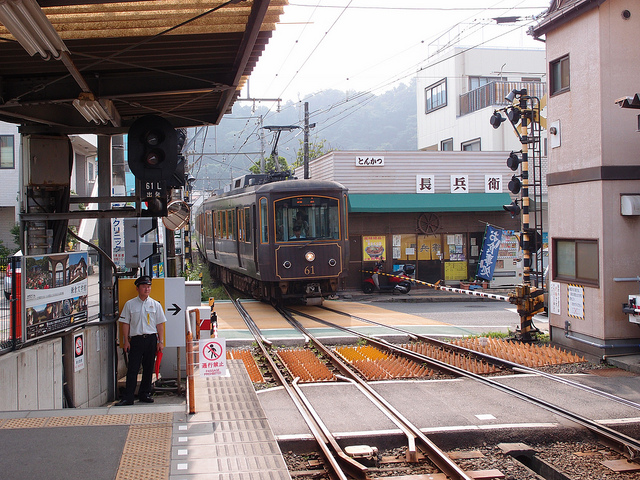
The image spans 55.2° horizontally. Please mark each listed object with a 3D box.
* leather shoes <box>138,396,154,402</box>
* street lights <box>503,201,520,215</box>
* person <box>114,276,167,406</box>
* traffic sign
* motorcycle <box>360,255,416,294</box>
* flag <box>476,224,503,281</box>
[{"bbox_3d":[-2.650,2.438,9.407,0.253,0.116,0.086,0,0,-9],"label":"leather shoes"},{"bbox_3d":[4.729,-0.780,15.045,0.477,0.274,0.346,2,7,-25],"label":"street lights"},{"bbox_3d":[-2.679,1.536,9.215,0.654,1.944,0.492,2,1,-22],"label":"person"},{"bbox_3d":[-2.786,1.234,10.208,1.117,1.169,0.108,1,-10,-32],"label":"traffic sign"},{"bbox_3d":[2.578,1.420,23.130,1.908,1.017,1.023,3,1,8],"label":"motorcycle"},{"bbox_3d":[5.835,0.424,21.086,0.745,1.728,0.658,3,1,9],"label":"flag"}]
